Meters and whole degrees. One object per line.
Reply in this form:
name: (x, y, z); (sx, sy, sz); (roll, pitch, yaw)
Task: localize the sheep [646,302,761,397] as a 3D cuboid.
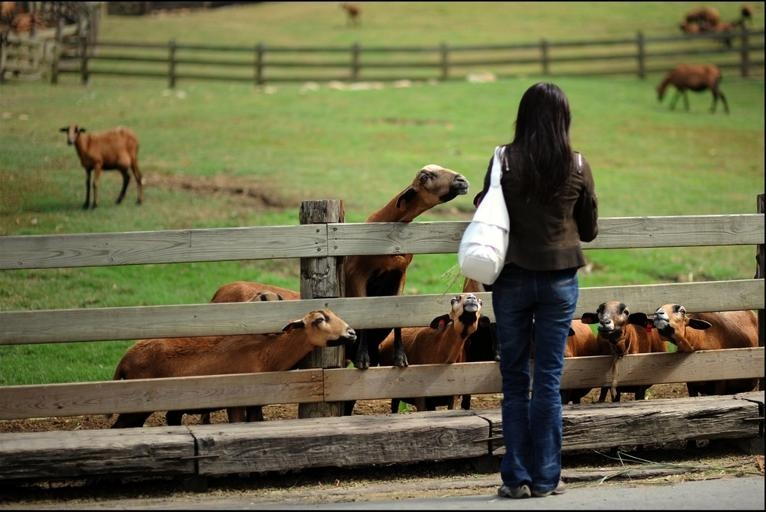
sheep: (4.797, 1.442, 22.857); (2.503, 1.238, 0.976); (5, -18, -35)

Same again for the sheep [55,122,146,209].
sheep: (-4.873, -1.561, 25.013); (0.583, 1.354, 2.014); (-3, 1, 32)

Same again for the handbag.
handbag: (1.430, -0.378, 20.416); (0.712, 1.503, 0.354); (-2, 9, -5)

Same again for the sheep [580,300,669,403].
sheep: (3.873, 1.564, 22.908); (1.203, 1.408, 2.966); (-3, -16, 20)
